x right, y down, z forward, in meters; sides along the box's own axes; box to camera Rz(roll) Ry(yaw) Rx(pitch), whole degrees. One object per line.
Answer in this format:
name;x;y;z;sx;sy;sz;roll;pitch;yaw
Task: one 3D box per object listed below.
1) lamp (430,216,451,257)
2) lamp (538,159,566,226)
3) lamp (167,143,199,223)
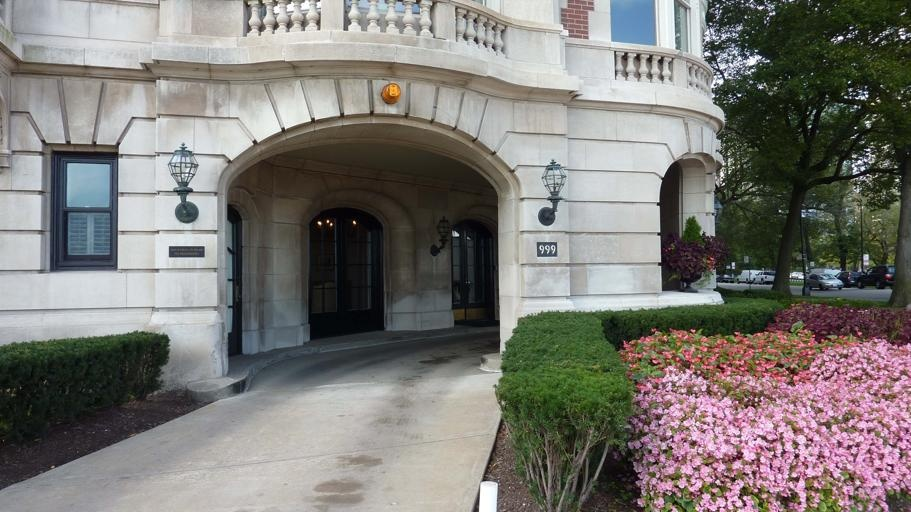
lamp;-0.453;-0.695;24.445;0.320;1.318;1.013;-1;-1;31
lamp;2.427;-1.641;19.054;0.696;1.685;0.255;-1;-1;0
lamp;-6.289;-1.702;17.338;0.603;1.825;0.259;-1;-1;-1
